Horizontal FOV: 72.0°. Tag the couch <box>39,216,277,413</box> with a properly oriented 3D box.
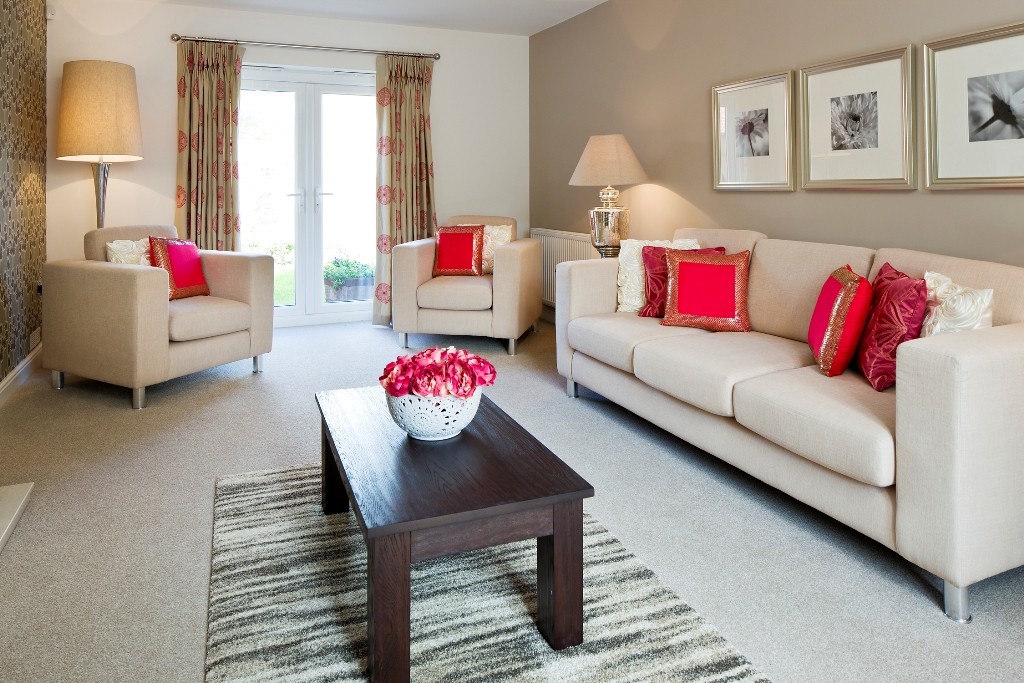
[{"bbox_3d":[-2.324,-0.104,5.067,1.141,1.530,1.588,3,4,26],"label":"couch"}]

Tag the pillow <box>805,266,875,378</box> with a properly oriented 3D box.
[{"bbox_3d":[1.502,-0.080,3.262,0.157,0.336,0.445,1,25,9],"label":"pillow"}]

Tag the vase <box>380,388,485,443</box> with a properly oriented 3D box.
[{"bbox_3d":[-0.316,0.280,2.729,0.241,0.131,0.243,2,5,26],"label":"vase"}]

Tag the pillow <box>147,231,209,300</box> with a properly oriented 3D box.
[{"bbox_3d":[-2.326,-0.525,4.920,0.126,0.420,0.425,-9,-3,26],"label":"pillow"}]

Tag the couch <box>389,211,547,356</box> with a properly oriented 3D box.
[{"bbox_3d":[-0.357,-0.502,5.896,1.028,1.080,0.975,2,6,14],"label":"couch"}]

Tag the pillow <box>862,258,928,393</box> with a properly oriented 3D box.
[{"bbox_3d":[1.583,-0.048,2.965,0.223,0.465,0.501,-2,11,11],"label":"pillow"}]

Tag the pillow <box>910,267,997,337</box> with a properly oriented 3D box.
[{"bbox_3d":[1.809,-0.154,2.975,0.256,0.232,0.286,-11,16,-36],"label":"pillow"}]

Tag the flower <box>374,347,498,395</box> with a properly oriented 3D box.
[{"bbox_3d":[-0.297,0.121,2.701,0.238,0.095,0.272,-6,9,-11],"label":"flower"}]

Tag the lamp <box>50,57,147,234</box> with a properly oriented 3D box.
[{"bbox_3d":[-3.174,-1.495,5.377,0.618,1.214,0.479,5,14,25],"label":"lamp"}]

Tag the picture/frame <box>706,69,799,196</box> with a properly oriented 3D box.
[{"bbox_3d":[1.547,-1.363,4.563,0.058,0.897,0.860,-4,6,-29],"label":"picture/frame"}]

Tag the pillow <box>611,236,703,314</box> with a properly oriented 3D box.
[{"bbox_3d":[0.823,-0.394,4.376,0.461,0.492,0.189,0,0,-13],"label":"pillow"}]

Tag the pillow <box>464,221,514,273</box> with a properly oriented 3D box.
[{"bbox_3d":[-0.216,-0.767,5.836,0.409,0.430,0.153,-3,-28,-1],"label":"pillow"}]
